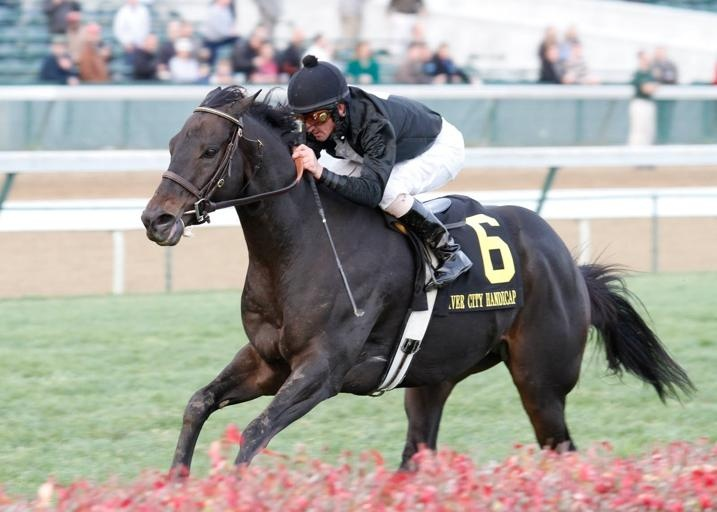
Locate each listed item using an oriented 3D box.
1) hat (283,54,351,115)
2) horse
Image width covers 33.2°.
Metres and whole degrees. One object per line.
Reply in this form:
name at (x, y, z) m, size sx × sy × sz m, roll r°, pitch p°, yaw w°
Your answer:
hat at (-0.247, -1.038, 6.990) m, size 0.429 × 0.269 × 0.382 m, roll -26°, pitch 27°, yaw -35°
horse at (0.239, 0.213, 7.074) m, size 3.079 × 2.179 × 0.826 m, roll 3°, pitch 14°, yaw -18°
